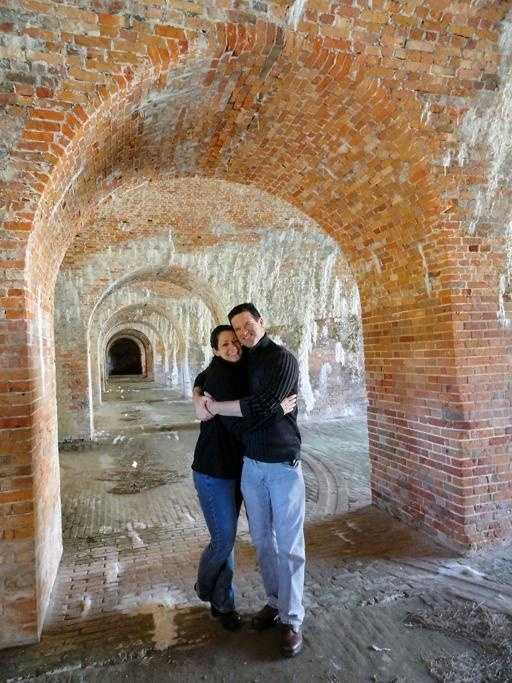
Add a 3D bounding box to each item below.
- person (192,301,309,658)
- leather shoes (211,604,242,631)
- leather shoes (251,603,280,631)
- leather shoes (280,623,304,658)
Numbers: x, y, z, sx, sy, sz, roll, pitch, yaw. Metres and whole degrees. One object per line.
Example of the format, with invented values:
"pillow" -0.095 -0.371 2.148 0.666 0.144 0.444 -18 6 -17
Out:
"person" 0.051 0.723 2.691 0.402 1.893 0.402 -5 -4 38
"leather shoes" -0.160 1.647 2.831 0.179 0.166 0.091 -31 -20 30
"leather shoes" 0.057 1.609 2.798 0.161 0.145 0.098 6 -3 39
"leather shoes" 0.196 1.590 2.548 0.123 0.143 0.169 -3 -3 3
